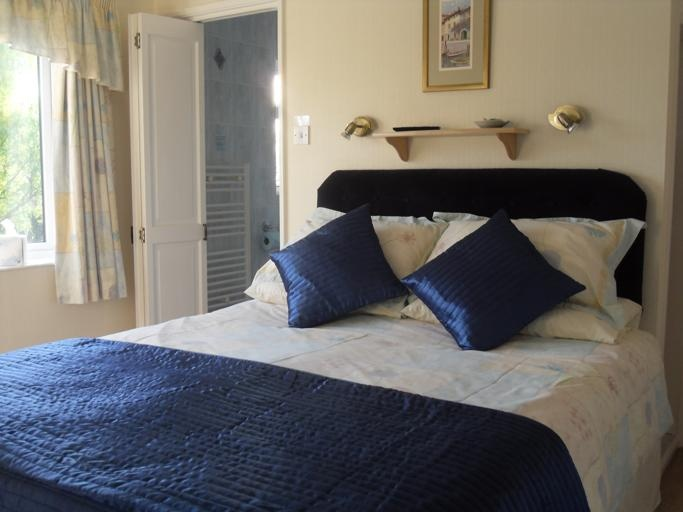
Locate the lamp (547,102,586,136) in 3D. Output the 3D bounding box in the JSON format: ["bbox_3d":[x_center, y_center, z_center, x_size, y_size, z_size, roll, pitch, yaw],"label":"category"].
[{"bbox_3d":[1.213,-0.745,2.890,0.188,0.154,0.111,3,12,21],"label":"lamp"}]

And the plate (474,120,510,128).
[{"bbox_3d":[0.842,-0.749,3.019,0.163,0.050,0.090,1,11,9],"label":"plate"}]

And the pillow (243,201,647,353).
[{"bbox_3d":[0.625,0.070,2.834,1.700,0.541,0.636,5,12,28],"label":"pillow"}]

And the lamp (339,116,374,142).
[{"bbox_3d":[0.109,-0.833,3.480,0.143,0.161,0.036,40,-7,31],"label":"lamp"}]
